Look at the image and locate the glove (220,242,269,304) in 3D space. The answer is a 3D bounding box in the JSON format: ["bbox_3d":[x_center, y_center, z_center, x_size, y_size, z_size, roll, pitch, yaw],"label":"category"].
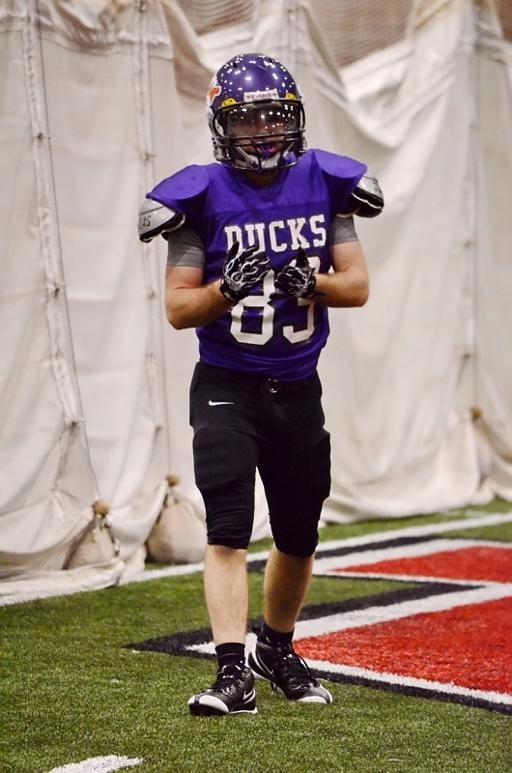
[{"bbox_3d":[-0.021,-0.203,1.835,0.088,0.078,0.066,-3,2,9],"label":"glove"}]

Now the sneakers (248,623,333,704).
[{"bbox_3d":[0.079,0.536,2.067,0.084,0.083,0.219,-13,19,-35],"label":"sneakers"}]

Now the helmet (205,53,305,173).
[{"bbox_3d":[-0.027,-0.512,1.987,0.202,0.181,0.233,-3,40,-3],"label":"helmet"}]

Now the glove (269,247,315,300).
[{"bbox_3d":[0.067,-0.200,1.834,0.084,0.078,0.040,0,25,-14],"label":"glove"}]

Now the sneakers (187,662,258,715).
[{"bbox_3d":[-0.062,0.543,1.869,0.087,0.088,0.213,-11,-18,22],"label":"sneakers"}]

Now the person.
[{"bbox_3d":[0.009,-0.018,1.993,0.459,0.900,0.234,-4,2,-29],"label":"person"}]
